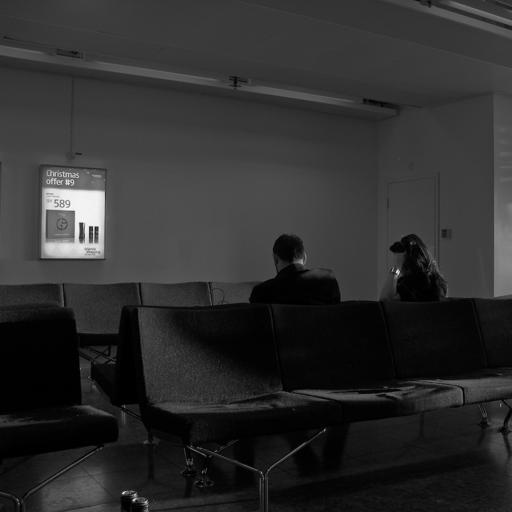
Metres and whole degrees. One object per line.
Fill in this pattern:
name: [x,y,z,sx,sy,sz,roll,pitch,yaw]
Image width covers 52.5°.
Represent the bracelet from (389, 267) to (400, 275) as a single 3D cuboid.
bracelet: [1.139,0.118,4.242,0.087,0.030,0.061,-3,9,-45]
